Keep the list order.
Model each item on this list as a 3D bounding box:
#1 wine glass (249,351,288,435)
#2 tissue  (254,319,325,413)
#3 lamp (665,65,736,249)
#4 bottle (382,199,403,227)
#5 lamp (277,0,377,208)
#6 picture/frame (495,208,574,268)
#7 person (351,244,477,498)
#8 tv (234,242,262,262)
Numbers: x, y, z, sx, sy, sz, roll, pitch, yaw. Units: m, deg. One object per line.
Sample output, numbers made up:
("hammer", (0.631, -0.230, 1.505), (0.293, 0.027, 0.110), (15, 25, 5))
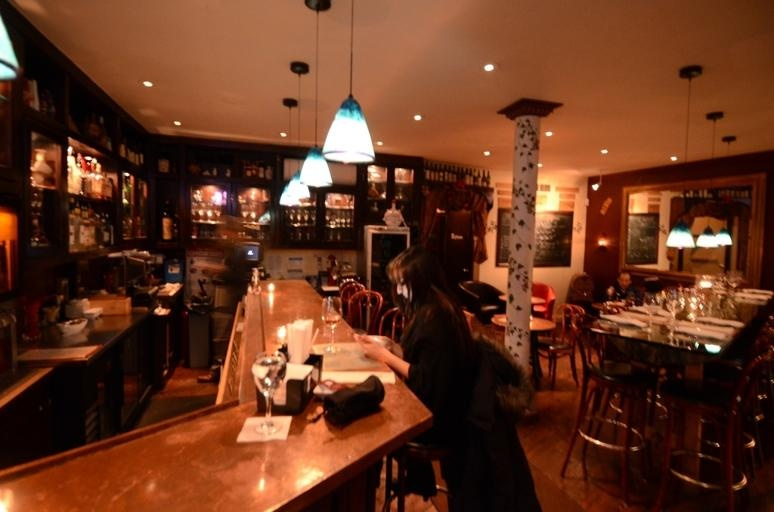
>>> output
("wine glass", (-0.838, 0.967, 4.055), (0.194, 0.550, 0.174), (4, 4, 18))
("tissue ", (-0.677, 0.647, 4.355), (0.487, 0.662, 0.951), (1, 5, 4))
("lamp", (3.994, -0.966, 7.201), (0.760, 1.928, 3.805), (5, 5, 31))
("bottle", (0.112, -0.658, 8.665), (0.343, 0.503, 0.361), (2, 8, 0))
("lamp", (-0.682, -1.619, 5.963), (0.693, 2.524, 1.339), (6, 6, 32))
("picture/frame", (2.736, -0.321, 10.396), (1.624, 1.064, 0.233), (1, 4, -28))
("person", (0.318, 0.689, 4.587), (0.807, 1.484, 0.465), (6, 5, 31))
("tv", (-1.884, -0.052, 7.716), (0.374, 0.276, 0.211), (4, -12, -23))
